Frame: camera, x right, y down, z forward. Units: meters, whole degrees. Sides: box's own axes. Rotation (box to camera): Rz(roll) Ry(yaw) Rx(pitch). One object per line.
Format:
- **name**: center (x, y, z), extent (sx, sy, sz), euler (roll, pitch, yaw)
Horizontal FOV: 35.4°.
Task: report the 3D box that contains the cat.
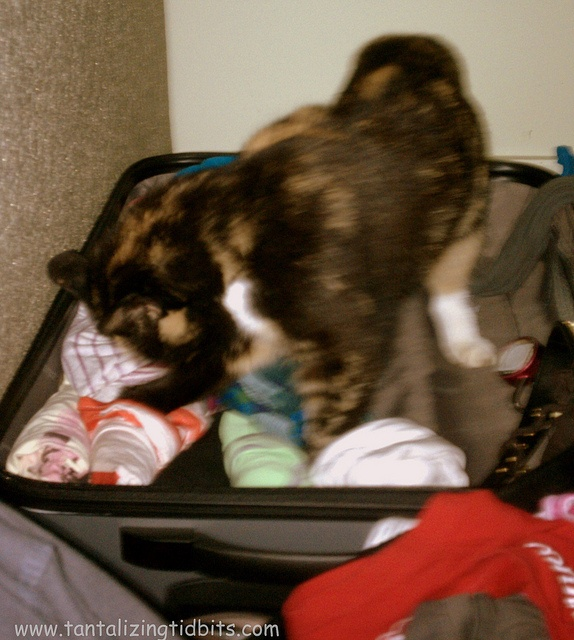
- **cat**: center (0.127, -0.098, 1.221), extent (0.652, 0.305, 0.444), euler (-38, 50, -20)
